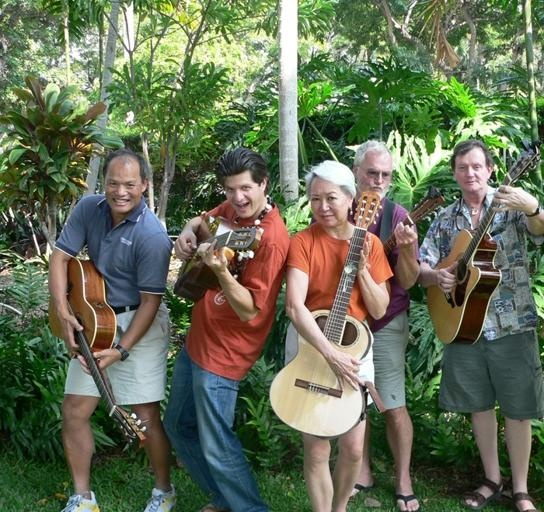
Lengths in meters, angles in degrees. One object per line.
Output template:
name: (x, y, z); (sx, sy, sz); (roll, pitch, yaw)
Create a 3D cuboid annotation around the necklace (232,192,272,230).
necklace: (-0.086, -0.252, 2.584); (0.150, 0.051, 0.185); (-33, 12, 44)

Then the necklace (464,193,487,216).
necklace: (1.235, -0.308, 3.068); (0.085, 0.136, 0.042); (3, 3, 13)

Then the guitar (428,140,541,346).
guitar: (1.173, 0.133, 2.981); (0.250, 0.860, 0.602); (-1, 1, -18)

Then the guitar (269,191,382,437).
guitar: (0.264, 0.273, 2.408); (0.545, 1.179, 0.329); (0, 1, -5)

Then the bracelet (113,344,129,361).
bracelet: (-0.823, 0.519, 2.736); (0.071, 0.085, 0.052); (15, 49, 41)

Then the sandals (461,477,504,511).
sandals: (1.313, 1.465, 3.182); (0.306, 0.150, 0.110); (-18, 23, -31)

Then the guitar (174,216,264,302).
guitar: (-0.276, 0.014, 2.569); (0.380, 0.460, 0.660); (0, 1, -20)

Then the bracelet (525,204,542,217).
bracelet: (1.395, -0.238, 2.689); (0.061, 0.018, 0.063); (-30, 18, 45)

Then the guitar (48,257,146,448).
guitar: (-0.902, 0.465, 2.825); (0.164, 1.221, 0.454); (-1, -30, -41)
